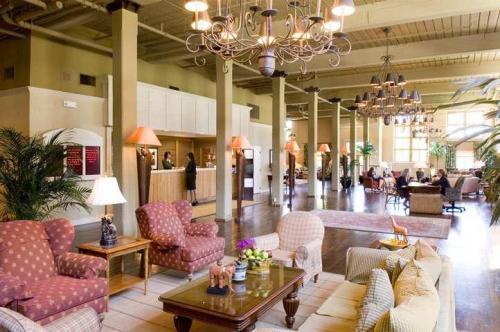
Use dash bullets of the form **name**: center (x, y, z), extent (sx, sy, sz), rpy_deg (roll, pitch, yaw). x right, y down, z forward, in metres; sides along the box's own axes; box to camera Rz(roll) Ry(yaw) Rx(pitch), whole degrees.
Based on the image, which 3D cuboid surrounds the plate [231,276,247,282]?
- **plate**: center (-0.142, 1.417, 4.117), extent (0.121, 0.029, 0.123), rpy_deg (-1, -4, 0)

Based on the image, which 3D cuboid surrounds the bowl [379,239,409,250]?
- **bowl**: center (2.193, 1.172, 4.950), extent (0.294, 0.092, 0.293), rpy_deg (-2, 3, 0)

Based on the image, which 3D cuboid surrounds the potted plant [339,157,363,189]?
- **potted plant**: center (5.410, 0.340, 16.776), extent (1.502, 1.954, 1.898), rpy_deg (0, 0, 7)

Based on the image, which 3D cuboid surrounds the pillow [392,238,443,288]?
- **pillow**: center (1.872, 1.064, 3.703), extent (0.139, 0.463, 0.447), rpy_deg (-27, -61, 39)

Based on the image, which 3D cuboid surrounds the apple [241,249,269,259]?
- **apple**: center (0.063, 1.148, 4.278), extent (0.186, 0.078, 0.193), rpy_deg (-1, -8, 20)

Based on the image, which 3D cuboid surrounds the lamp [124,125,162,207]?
- **lamp**: center (-2.080, -0.043, 6.698), extent (0.818, 1.619, 0.686), rpy_deg (-1, 2, 13)

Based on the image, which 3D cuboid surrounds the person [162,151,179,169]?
- **person**: center (-2.762, -0.224, 11.202), extent (0.363, 0.625, 1.643), rpy_deg (-2, 1, -14)

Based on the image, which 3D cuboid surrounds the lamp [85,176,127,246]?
- **lamp**: center (-2.106, 0.670, 4.844), extent (0.567, 0.956, 0.567), rpy_deg (0, -1, -14)

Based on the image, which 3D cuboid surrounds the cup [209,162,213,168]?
- **cup**: center (-1.517, -0.037, 12.960), extent (0.176, 0.207, 0.177), rpy_deg (-1, -5, 0)

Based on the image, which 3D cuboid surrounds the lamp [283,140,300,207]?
- **lamp**: center (1.447, 0.282, 11.385), extent (0.527, 2.332, 0.538), rpy_deg (5, -6, -9)

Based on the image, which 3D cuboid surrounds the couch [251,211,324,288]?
- **couch**: center (0.739, 1.181, 5.183), extent (1.159, 1.236, 1.088), rpy_deg (1, -1, 33)

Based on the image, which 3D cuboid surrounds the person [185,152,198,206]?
- **person**: center (-1.938, 0.453, 10.917), extent (0.356, 1.783, 0.802), rpy_deg (-2, 2, -10)

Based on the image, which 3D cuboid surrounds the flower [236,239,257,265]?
- **flower**: center (-0.093, 1.147, 4.416), extent (0.259, 0.350, 0.307), rpy_deg (12, -13, -41)

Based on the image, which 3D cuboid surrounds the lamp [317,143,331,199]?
- **lamp**: center (3.202, 0.229, 14.185), extent (0.628, 2.390, 0.584), rpy_deg (5, -4, -36)

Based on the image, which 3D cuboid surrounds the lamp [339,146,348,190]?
- **lamp**: center (4.627, 0.027, 16.124), extent (0.455, 2.047, 0.472), rpy_deg (-2, -4, 32)

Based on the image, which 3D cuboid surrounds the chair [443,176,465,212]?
- **chair**: center (6.811, 0.874, 10.985), extent (0.635, 1.148, 1.910), rpy_deg (0, 2, 33)

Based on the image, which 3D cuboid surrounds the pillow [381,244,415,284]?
- **pillow**: center (1.718, 1.085, 3.729), extent (0.112, 0.304, 0.354), rpy_deg (29, -39, 1)

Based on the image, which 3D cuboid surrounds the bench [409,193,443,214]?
- **bench**: center (5.517, 1.178, 10.318), extent (0.711, 0.495, 0.729), rpy_deg (-1, -2, 36)

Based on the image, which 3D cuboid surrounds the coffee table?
- **coffee table**: center (-1.908, 1.342, 5.069), extent (0.836, 1.117, 1.127), rpy_deg (-1, 0, 32)

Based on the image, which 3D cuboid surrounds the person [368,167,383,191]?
- **person**: center (5.909, 0.563, 15.502), extent (0.448, 1.100, 0.679), rpy_deg (1, -6, -45)

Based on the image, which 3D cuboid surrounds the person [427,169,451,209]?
- **person**: center (6.222, 0.585, 10.774), extent (0.524, 0.914, 0.392), rpy_deg (0, 14, 28)

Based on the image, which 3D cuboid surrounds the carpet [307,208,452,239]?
- **carpet**: center (3.520, 1.512, 8.902), extent (3.241, 0.184, 2.527), rpy_deg (-1, 1, 31)

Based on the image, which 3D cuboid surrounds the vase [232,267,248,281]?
- **vase**: center (-0.126, 1.345, 4.121), extent (0.185, 0.159, 0.181), rpy_deg (2, -5, -37)
